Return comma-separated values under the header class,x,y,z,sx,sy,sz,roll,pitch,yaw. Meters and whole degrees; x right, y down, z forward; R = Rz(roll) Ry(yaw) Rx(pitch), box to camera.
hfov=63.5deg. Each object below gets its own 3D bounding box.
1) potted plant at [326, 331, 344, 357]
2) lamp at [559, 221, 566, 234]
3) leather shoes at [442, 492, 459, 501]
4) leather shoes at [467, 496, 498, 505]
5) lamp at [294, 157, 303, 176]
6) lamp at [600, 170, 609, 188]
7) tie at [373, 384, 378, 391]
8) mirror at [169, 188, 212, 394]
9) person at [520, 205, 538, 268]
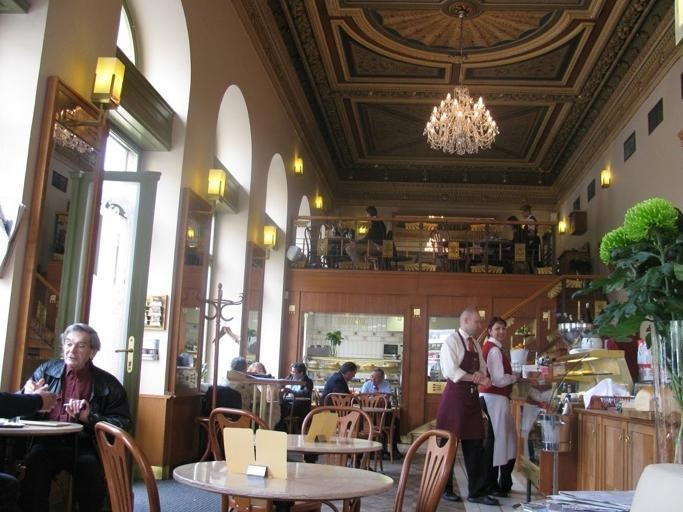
class,x,y,z,sx,sy,sz,roll,pitch,yaw
potted plant,-0.182,2.162,13.662,0.471,0.648,0.568,0,-3,-6
lamp,6.273,-0.806,15.651,0.201,0.361,0.453,-3,-14,22
leather shoes,1.175,2.561,5.910,0.176,0.128,0.065,-9,-17,22
leather shoes,1.490,2.525,5.813,0.298,0.100,0.115,-7,-15,24
lamp,-0.988,-2.034,12.392,0.176,0.430,0.253,2,-13,-2
lamp,5.786,-1.687,12.054,0.167,0.398,0.233,3,-13,-5
tie,0.602,2.349,9.879,0.069,0.125,0.109,-2,-9,2
mirror,-1.954,0.814,7.103,0.082,1.751,0.676,7,1,16
person,4.616,-0.384,13.508,0.498,1.723,0.514,4,19,33
